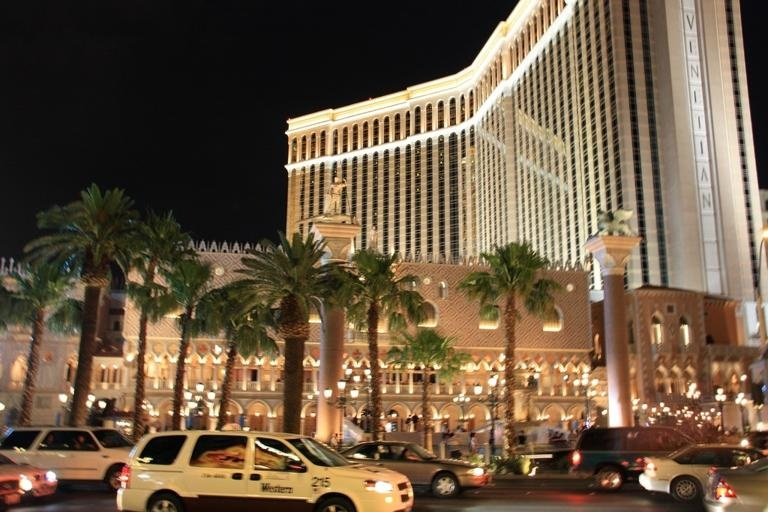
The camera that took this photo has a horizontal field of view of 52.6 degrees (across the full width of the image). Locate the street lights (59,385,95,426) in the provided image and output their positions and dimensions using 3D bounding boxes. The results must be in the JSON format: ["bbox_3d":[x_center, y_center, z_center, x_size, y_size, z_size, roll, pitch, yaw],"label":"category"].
[{"bbox_3d":[-18.143,8.739,46.202,0.834,2.977,0.679,18,-3,-39],"label":"street lights"}]

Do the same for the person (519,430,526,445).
[{"bbox_3d":[9.471,12.394,53.277,0.485,0.889,0.747,4,-20,-12],"label":"person"}]

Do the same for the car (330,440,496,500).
[{"bbox_3d":[1.394,9.276,34.213,6.123,1.928,2.589,-1,-7,10],"label":"car"}]

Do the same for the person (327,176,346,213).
[{"bbox_3d":[-3.048,-3.687,48.845,1.194,2.835,0.683,7,-24,-12],"label":"person"}]
